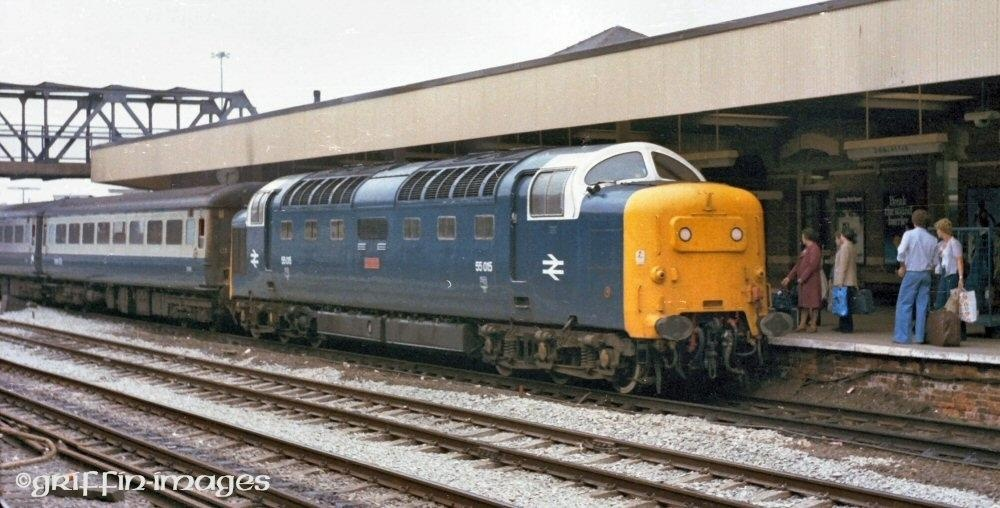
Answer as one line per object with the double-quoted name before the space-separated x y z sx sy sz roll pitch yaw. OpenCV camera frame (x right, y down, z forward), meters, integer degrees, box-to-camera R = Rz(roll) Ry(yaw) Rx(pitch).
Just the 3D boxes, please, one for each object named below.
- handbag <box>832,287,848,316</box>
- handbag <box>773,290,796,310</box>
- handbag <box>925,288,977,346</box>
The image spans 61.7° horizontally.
"handbag" 8.950 1.223 21.882 0.452 0.774 0.245 3 10 35
"handbag" 7.906 1.258 23.117 0.354 0.487 0.569 6 -7 -44
"handbag" 11.045 1.501 20.306 1.106 1.315 0.603 -7 9 -25
